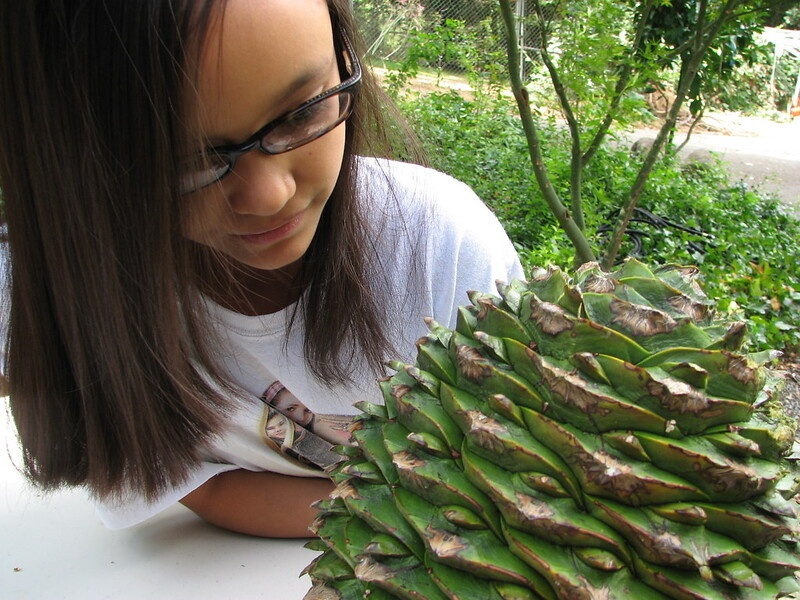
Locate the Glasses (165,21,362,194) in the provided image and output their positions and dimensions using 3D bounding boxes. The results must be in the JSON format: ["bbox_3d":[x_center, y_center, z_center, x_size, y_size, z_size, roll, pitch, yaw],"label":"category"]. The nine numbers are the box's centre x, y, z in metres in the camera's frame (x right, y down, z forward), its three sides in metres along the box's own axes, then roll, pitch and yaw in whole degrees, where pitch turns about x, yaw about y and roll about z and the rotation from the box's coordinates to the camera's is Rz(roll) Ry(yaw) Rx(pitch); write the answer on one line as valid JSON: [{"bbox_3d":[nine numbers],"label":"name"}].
[{"bbox_3d":[-0.208,-0.300,1.225,0.356,0.202,0.123,-13,18,-37],"label":"Glasses"}]
